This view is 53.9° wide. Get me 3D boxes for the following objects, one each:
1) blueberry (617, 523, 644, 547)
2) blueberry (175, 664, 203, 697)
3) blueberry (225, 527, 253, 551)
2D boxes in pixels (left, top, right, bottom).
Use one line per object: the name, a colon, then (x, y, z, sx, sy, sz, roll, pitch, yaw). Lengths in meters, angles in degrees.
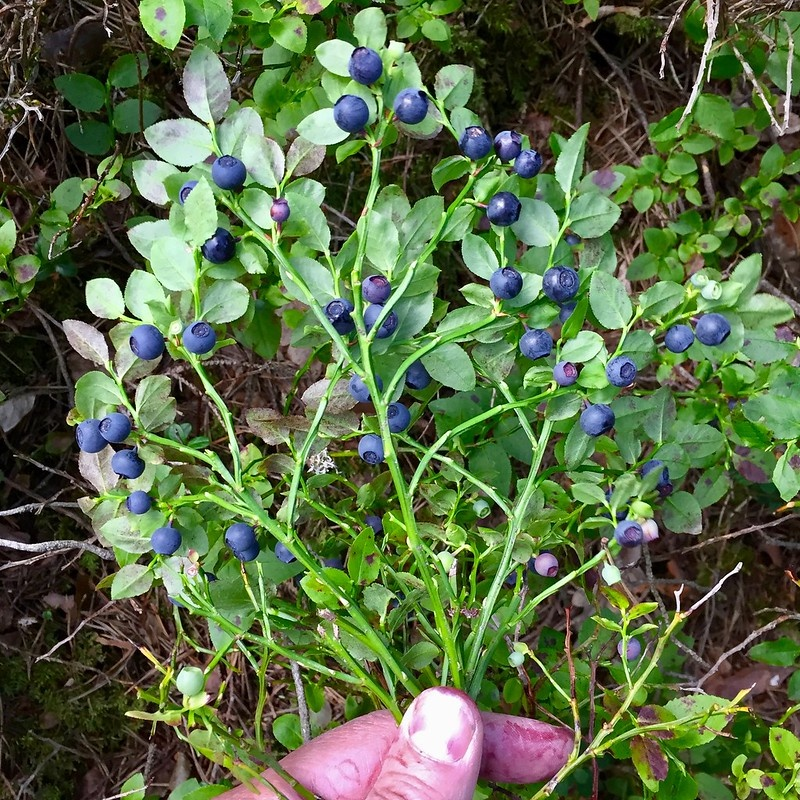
blueberry: (0.426, 0.251, 1.459, 0.056, 0.049, 0.042, -1, 89, -3)
blueberry: (-0.343, 0.459, 1.283, 0.037, 0.070, 0.048, 6, 58, 8)
blueberry: (-0.302, 0.260, 1.484, 0.057, 0.057, 0.045, 3, 100, 1)
